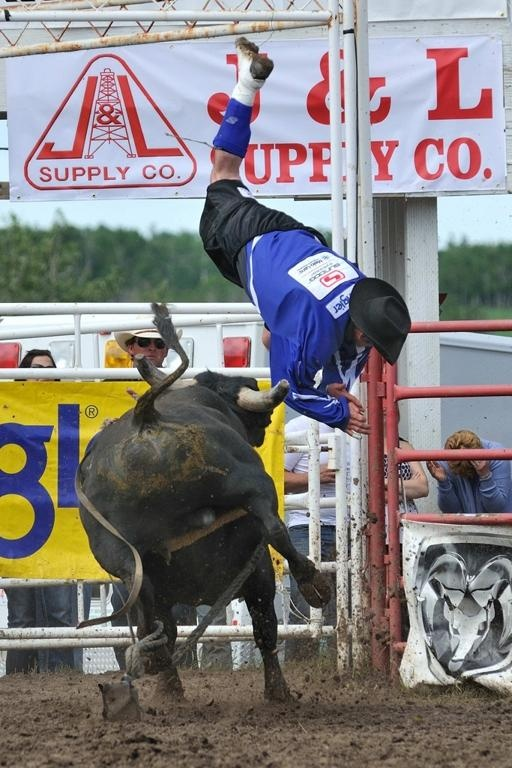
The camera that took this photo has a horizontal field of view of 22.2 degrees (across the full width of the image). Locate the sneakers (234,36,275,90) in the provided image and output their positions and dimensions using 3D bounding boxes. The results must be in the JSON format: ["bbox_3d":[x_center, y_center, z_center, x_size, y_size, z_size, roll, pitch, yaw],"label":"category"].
[{"bbox_3d":[0.014,-1.710,6.886,0.118,0.159,0.267,-17,39,-18],"label":"sneakers"}]

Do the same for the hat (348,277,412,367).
[{"bbox_3d":[0.581,-0.306,6.034,0.146,0.376,0.340,-17,7,38],"label":"hat"}]

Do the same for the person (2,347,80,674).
[{"bbox_3d":[-1.336,0.744,8.225,0.438,2.042,1.073,-2,-11,-8],"label":"person"}]

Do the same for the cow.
[{"bbox_3d":[-0.306,0.509,5.487,0.794,1.453,2.091,-10,-17,9],"label":"cow"}]
